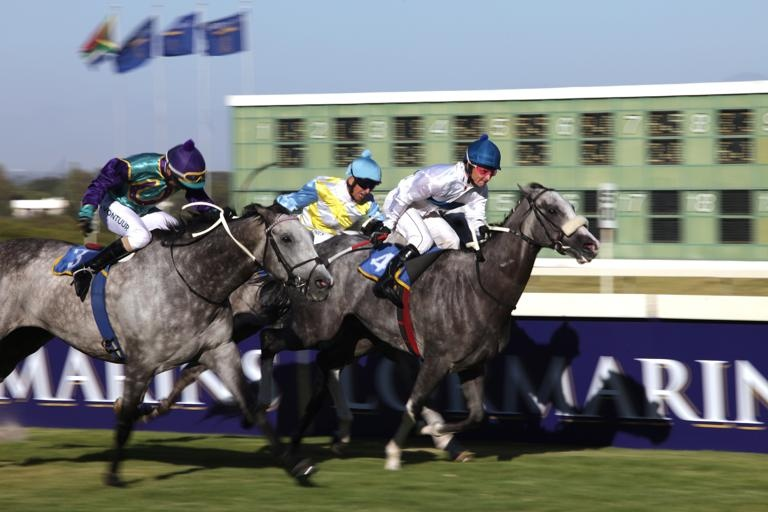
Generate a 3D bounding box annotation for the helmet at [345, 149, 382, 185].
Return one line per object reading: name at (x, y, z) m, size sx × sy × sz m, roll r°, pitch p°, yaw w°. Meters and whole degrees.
helmet at (-0.172, -1.049, 14.885) m, size 0.462 × 0.269 × 0.350 m, roll 19°, pitch 30°, yaw 39°

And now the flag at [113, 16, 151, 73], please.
flag at (-6.020, -5.036, 31.491) m, size 0.967 × 1.275 × 0.480 m, roll -2°, pitch 12°, yaw -12°

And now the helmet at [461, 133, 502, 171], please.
helmet at (1.098, -1.149, 14.205) m, size 0.405 × 0.284 × 0.473 m, roll -2°, pitch 30°, yaw -29°

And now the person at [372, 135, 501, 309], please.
person at (0.605, -0.431, 14.499) m, size 1.239 × 1.785 × 1.063 m, roll 14°, pitch 3°, yaw 0°

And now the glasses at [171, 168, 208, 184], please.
glasses at (-2.038, -0.836, 13.871) m, size 0.262 × 0.080 × 0.200 m, roll 0°, pitch 14°, yaw 16°
